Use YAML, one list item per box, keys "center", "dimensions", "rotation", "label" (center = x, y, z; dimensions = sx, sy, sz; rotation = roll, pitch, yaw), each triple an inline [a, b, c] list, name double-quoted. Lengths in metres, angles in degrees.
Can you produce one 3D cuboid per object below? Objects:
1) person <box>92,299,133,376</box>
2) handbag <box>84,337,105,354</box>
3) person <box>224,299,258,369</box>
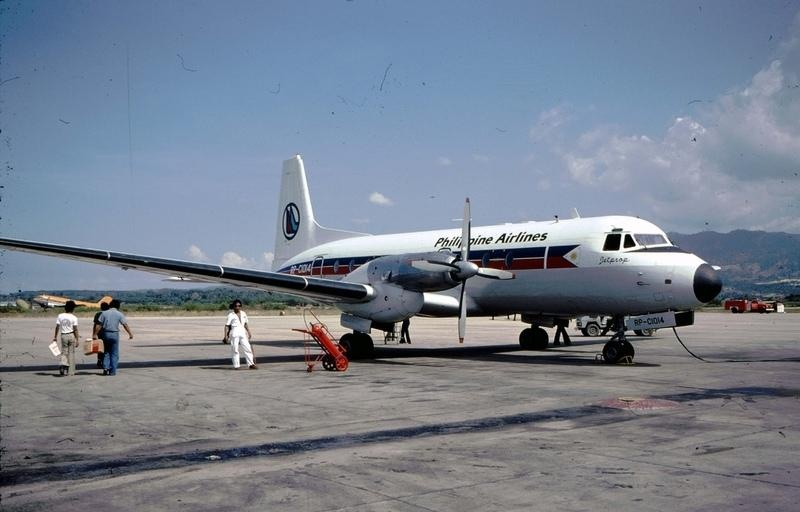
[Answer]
- center: [-7.317, 2.015, 14.596]
  dimensions: [0.750, 1.926, 0.667]
  rotation: [-2, -3, -25]
  label: "person"
- center: [-7.544, 2.211, 14.229]
  dimensions: [0.418, 0.383, 0.704]
  rotation: [-2, -2, -27]
  label: "handbag"
- center: [-4.395, 2.116, 15.894]
  dimensions: [0.752, 1.943, 1.507]
  rotation: [-3, -2, -15]
  label: "person"
